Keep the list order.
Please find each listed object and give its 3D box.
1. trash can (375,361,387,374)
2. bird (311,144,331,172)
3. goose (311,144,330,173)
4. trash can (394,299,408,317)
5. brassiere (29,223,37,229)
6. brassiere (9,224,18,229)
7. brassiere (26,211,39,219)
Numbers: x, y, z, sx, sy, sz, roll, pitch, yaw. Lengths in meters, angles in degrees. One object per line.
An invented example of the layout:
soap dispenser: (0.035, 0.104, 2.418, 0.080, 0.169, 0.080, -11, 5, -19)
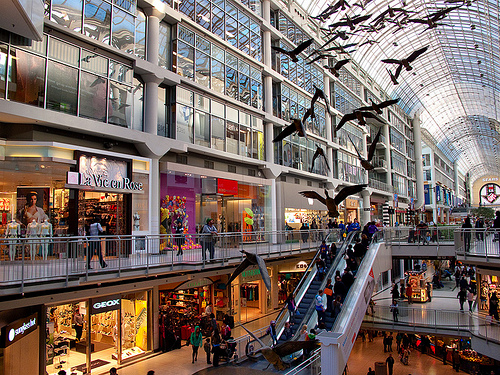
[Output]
trash can: (8.018, 11.009, 26.776, 0.586, 0.738, 0.624, 1, -9, -5)
bird: (5.917, -2.444, 36.976, 1.493, 2.918, 1.055, -5, -6, 19)
goose: (5.912, -2.409, 36.927, 1.620, 3.014, 0.887, -4, 0, 26)
trash can: (10.384, 8.171, 29.635, 0.821, 0.973, 0.880, -2, -4, 5)
brassiere: (-9.344, 1.630, 18.695, 0.179, 0.164, 0.216, 0, -10, -5)
brassiere: (-9.985, 1.626, 18.316, 0.185, 0.159, 0.206, -1, -2, 26)
brassiere: (-9.909, 1.249, 19.836, 0.446, 0.346, 0.611, 5, -6, -35)
